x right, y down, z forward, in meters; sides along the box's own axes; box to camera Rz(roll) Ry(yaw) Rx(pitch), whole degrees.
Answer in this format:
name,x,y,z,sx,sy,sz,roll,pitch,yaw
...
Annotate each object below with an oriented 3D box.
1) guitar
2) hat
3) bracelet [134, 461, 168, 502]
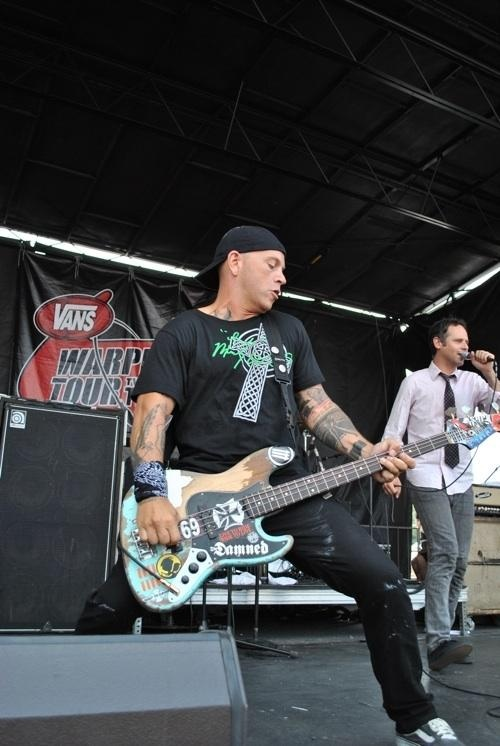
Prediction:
name,x,y,z,sx,sy,sz,roll,pitch,yaw
guitar,-0.005,0.395,1.647,0.685,0.372,0.266,2,11,-25
hat,-0.042,-0.401,2.019,0.257,0.148,0.196,-18,-12,22
bracelet,-0.257,0.282,1.570,0.091,0.078,0.154,4,10,-11
